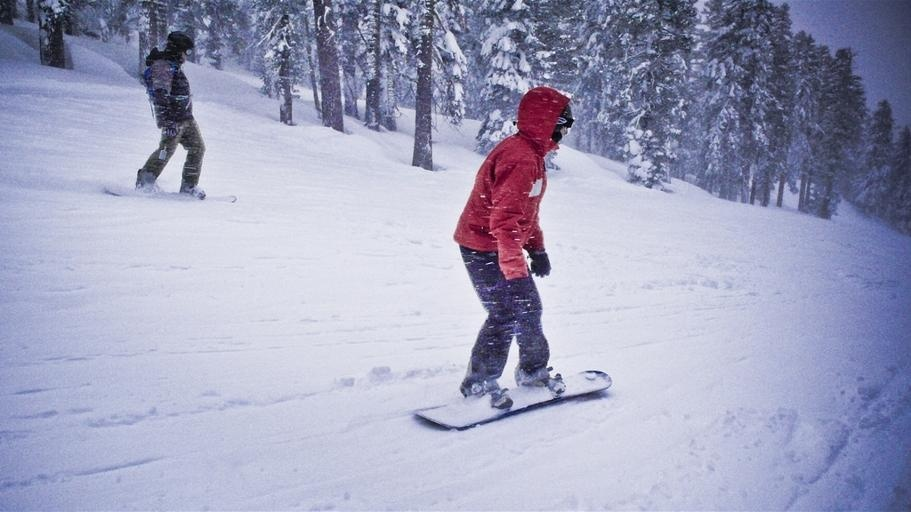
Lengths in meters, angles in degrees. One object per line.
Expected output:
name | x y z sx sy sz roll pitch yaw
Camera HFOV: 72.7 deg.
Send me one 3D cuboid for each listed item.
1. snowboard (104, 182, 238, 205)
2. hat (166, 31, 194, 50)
snowboard | -6.906 -1.472 14.744 2.922 0.384 0.616 1 44 -16
hat | -6.375 -4.985 14.333 0.527 0.398 0.408 3 15 -21
